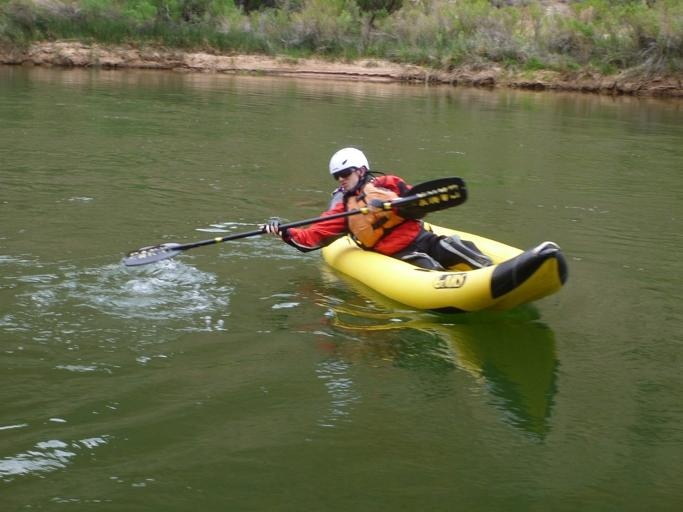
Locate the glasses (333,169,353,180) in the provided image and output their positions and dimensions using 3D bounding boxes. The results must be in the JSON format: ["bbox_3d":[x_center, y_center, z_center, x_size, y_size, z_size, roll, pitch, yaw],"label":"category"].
[{"bbox_3d":[0.006,-0.850,8.099,0.166,0.034,0.150,-9,10,40],"label":"glasses"}]

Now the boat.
[{"bbox_3d":[0.923,0.171,7.568,1.116,0.302,2.154,-8,7,-39],"label":"boat"}]

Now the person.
[{"bbox_3d":[0.326,-0.360,7.914,1.956,0.419,1.421,-15,14,1],"label":"person"}]
